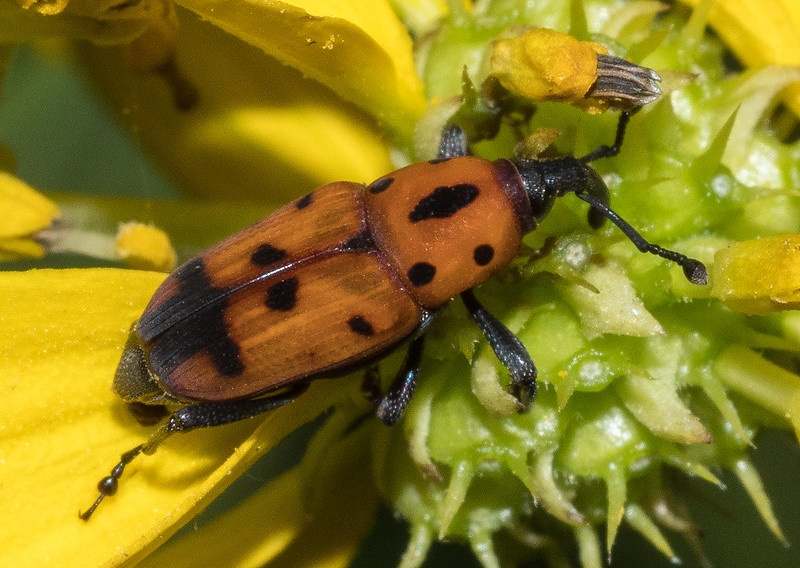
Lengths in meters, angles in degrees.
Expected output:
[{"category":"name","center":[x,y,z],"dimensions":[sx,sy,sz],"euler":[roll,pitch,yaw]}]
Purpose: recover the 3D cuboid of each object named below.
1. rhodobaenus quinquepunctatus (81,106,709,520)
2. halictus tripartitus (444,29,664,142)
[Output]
[{"category":"rhodobaenus quinquepunctatus","center":[-0.050,-0.018,2.051],"dimensions":[1.379,0.360,0.650],"euler":[-17,60,-12]},{"category":"halictus tripartitus","center":[0.286,-0.354,1.705],"dimensions":[0.387,0.292,0.110],"euler":[7,67,-4]}]
